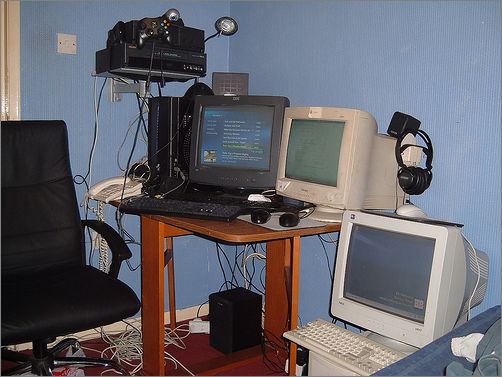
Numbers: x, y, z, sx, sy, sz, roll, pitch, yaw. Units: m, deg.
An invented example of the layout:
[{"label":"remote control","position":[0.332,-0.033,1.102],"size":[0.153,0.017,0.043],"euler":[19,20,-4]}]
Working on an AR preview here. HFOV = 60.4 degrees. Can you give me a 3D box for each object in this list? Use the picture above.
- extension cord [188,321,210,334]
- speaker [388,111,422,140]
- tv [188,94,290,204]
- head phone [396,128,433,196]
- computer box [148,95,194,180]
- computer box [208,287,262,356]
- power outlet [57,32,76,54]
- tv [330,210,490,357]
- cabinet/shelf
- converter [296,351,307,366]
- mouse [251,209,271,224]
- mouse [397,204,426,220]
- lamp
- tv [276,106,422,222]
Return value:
[{"label":"extension cord","position":[-0.327,0.895,2.763],"size":[0.133,0.088,0.032],"euler":[1,1,6]},{"label":"speaker","position":[0.724,-0.311,2.086],"size":[0.128,0.125,0.122],"euler":[28,2,-36]},{"label":"tv","position":[-0.050,-0.217,2.320],"size":[0.498,0.558,0.303],"euler":[5,-2,29]},{"label":"head phone","position":[0.769,-0.125,2.018],"size":[0.163,0.293,0.196],"euler":[8,14,29]},{"label":"computer box","position":[-0.494,-0.294,2.510],"size":[0.294,0.479,0.237],"euler":[3,12,8]},{"label":"computer box","position":[-0.094,0.800,2.630],"size":[0.270,0.322,0.241],"euler":[-2,5,-34]},{"label":"power outlet","position":[-1.092,-0.858,2.531],"size":[0.127,0.135,0.013],"euler":[2,-2,-37]},{"label":"tv","position":[0.754,0.413,1.875],"size":[0.609,0.566,0.518],"euler":[5,1,-26]},{"label":"cabinet/shelf","position":[-0.631,-0.623,2.642],"size":[0.642,0.197,0.451],"euler":[-3,14,-22]},{"label":"converter","position":[0.259,0.866,2.202],"size":[0.047,0.058,0.042],"euler":[2,3,-37]},{"label":"mouse","position":[0.043,0.115,1.936],"size":[0.080,0.051,0.141],"euler":[4,13,10]},{"label":"mouse","position":[0.685,0.107,1.845],"size":[0.072,0.025,0.070],"euler":[6,8,-30]},{"label":"lamp","position":[-0.282,-0.883,2.895],"size":[0.341,0.523,0.482],"euler":[0,13,-6]},{"label":"tv","position":[0.486,-0.115,2.241],"size":[0.544,0.551,0.561],"euler":[3,6,-30]}]
